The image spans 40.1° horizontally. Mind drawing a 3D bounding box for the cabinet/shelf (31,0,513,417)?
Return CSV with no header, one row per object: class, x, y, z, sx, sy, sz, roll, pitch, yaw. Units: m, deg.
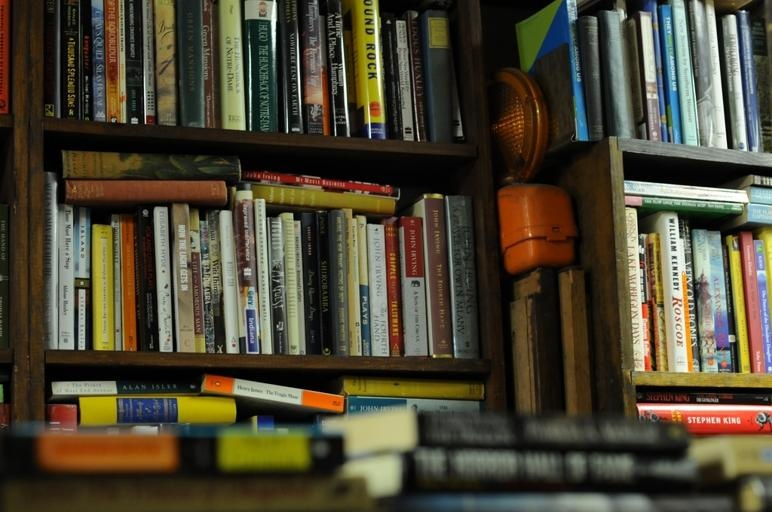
cabinet/shelf,-0.299,-0.085,2.452,1.093,0.931,0.301,2,-16,-12
